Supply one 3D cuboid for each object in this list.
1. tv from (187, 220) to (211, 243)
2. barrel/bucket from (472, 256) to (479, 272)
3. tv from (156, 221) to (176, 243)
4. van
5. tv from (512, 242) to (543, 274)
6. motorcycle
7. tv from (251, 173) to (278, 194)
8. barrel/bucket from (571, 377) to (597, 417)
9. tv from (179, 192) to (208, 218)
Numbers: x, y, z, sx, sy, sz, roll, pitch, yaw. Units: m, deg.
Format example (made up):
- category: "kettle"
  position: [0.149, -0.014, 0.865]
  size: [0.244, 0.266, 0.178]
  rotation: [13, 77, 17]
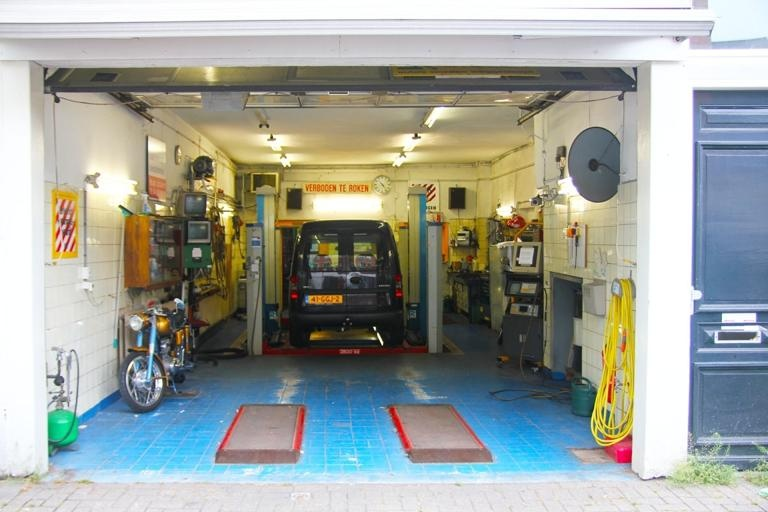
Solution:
- category: "tv"
  position: [-2.894, -0.368, 8.442]
  size: [0.401, 0.318, 0.198]
  rotation: [1, -1, -7]
- category: "barrel/bucket"
  position: [2.392, 0.205, 13.991]
  size: [0.148, 0.303, 0.414]
  rotation: [3, 9, 13]
- category: "tv"
  position: [-3.086, -0.334, 7.639]
  size: [0.250, 0.375, 0.430]
  rotation: [0, 0, -2]
- category: "van"
  position: [-0.592, 0.342, 8.501]
  size: [1.316, 1.062, 2.200]
  rotation: [0, 4, 0]
- category: "tv"
  position: [2.270, 0.045, 8.527]
  size: [0.470, 0.452, 0.259]
  rotation: [-1, -28, 28]
- category: "motorcycle"
  position: [-2.954, 1.206, 7.041]
  size: [0.716, 1.241, 1.450]
  rotation: [0, 8, -1]
- category: "tv"
  position: [-3.018, -1.853, 13.698]
  size: [0.669, 0.433, 0.338]
  rotation: [-1, 9, -6]
- category: "barrel/bucket"
  position: [2.448, 1.658, 6.633]
  size: [0.282, 0.454, 0.415]
  rotation: [4, 9, 20]
- category: "tv"
  position: [-3.177, -0.864, 9.139]
  size: [0.445, 0.406, 0.431]
  rotation: [3, -4, -5]
